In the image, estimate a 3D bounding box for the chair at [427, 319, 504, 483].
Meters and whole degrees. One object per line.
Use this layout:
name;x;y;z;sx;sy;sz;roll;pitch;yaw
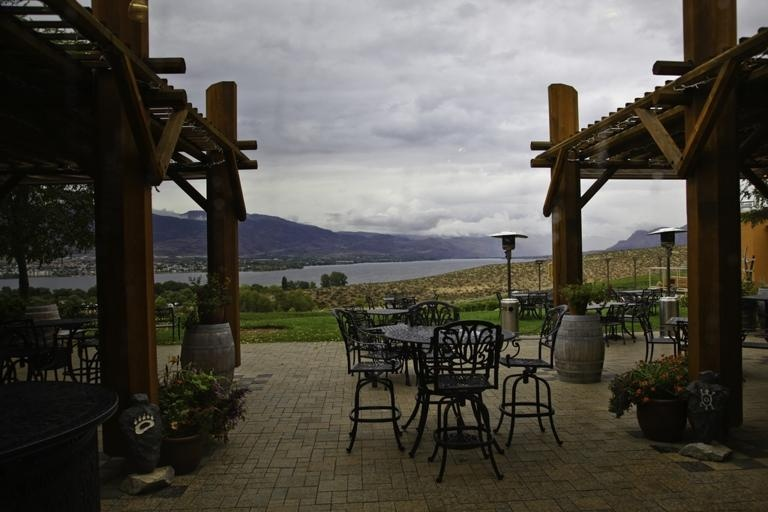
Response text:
chair;0.965;1.483;7.420;0.852;1.693;1.753;0;10;6

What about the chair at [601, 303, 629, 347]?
chair;4.704;1.322;12.559;0.788;0.708;0.804;-4;3;28

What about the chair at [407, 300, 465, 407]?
chair;0.669;1.301;9.169;1.195;1.295;1.183;0;-6;3

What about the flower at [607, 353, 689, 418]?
flower;3.294;1.733;7.786;0.877;0.707;1.004;3;-18;11

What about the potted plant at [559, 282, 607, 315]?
potted plant;3.050;0.630;9.545;0.568;0.427;0.589;-3;-2;41

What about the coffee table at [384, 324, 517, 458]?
coffee table;0.795;1.551;7.623;1.546;1.623;1.302;1;0;-23

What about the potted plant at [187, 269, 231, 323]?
potted plant;-2.694;0.635;9.433;0.664;0.922;0.685;8;-9;-41

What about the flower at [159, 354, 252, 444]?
flower;-2.160;1.793;7.335;0.958;0.794;0.611;-4;11;-19

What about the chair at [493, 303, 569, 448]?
chair;1.927;1.560;8.094;0.817;1.624;0.789;2;-5;1

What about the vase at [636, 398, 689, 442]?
vase;3.340;1.959;7.517;0.550;0.422;0.524;0;-8;0
